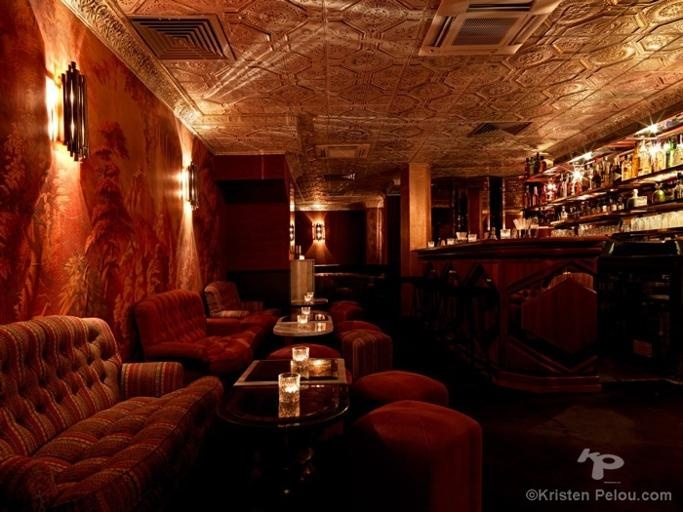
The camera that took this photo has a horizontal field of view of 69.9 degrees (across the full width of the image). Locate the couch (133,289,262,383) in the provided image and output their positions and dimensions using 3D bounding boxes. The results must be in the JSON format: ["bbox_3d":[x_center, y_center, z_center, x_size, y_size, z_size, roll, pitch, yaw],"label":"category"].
[{"bbox_3d":[-1.443,0.816,5.124,0.839,0.680,1.471,0,1,4],"label":"couch"}]

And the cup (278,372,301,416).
[{"bbox_3d":[-0.345,0.918,3.214,0.141,0.197,0.276,2,13,-6],"label":"cup"}]
